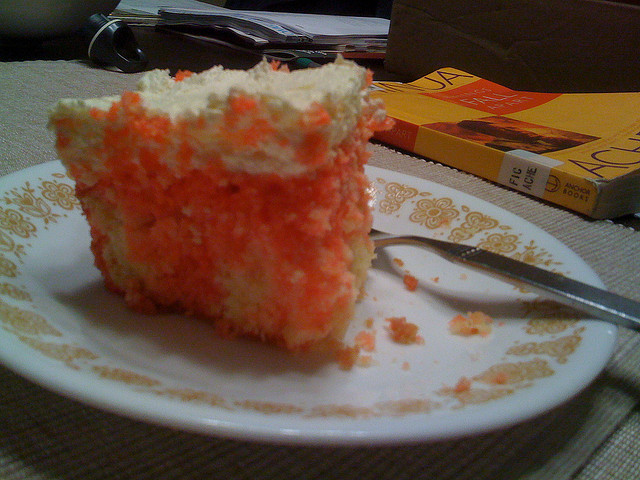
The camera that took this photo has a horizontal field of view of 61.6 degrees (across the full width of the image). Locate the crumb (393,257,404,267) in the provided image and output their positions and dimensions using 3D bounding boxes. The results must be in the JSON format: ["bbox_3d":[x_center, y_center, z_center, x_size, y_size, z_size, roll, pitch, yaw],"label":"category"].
[{"bbox_3d":[0.114,0.032,0.766,0.011,0.003,0.012,-2,37,-15],"label":"crumb"}]

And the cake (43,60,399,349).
[{"bbox_3d":[-0.073,-0.067,0.699,0.483,0.269,0.326,3,27,12],"label":"cake"}]

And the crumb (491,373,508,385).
[{"bbox_3d":[0.176,0.136,0.522,0.009,0.002,0.009,11,26,42],"label":"crumb"}]

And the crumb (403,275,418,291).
[{"bbox_3d":[0.123,0.057,0.727,0.022,0.016,0.006,6,-13,35],"label":"crumb"}]

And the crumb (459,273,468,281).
[{"bbox_3d":[0.193,0.049,0.730,0.012,0.008,0.009,-2,-11,-7],"label":"crumb"}]

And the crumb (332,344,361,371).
[{"bbox_3d":[0.027,0.127,0.578,0.027,0.005,0.022,-6,32,-4],"label":"crumb"}]

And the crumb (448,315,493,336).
[{"bbox_3d":[0.178,0.101,0.639,0.033,0.011,0.025,7,22,43],"label":"crumb"}]

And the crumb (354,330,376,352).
[{"bbox_3d":[0.052,0.116,0.615,0.023,0.004,0.018,-5,39,4],"label":"crumb"}]

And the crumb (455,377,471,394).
[{"bbox_3d":[0.141,0.143,0.524,0.011,0.005,0.012,3,26,4],"label":"crumb"}]
